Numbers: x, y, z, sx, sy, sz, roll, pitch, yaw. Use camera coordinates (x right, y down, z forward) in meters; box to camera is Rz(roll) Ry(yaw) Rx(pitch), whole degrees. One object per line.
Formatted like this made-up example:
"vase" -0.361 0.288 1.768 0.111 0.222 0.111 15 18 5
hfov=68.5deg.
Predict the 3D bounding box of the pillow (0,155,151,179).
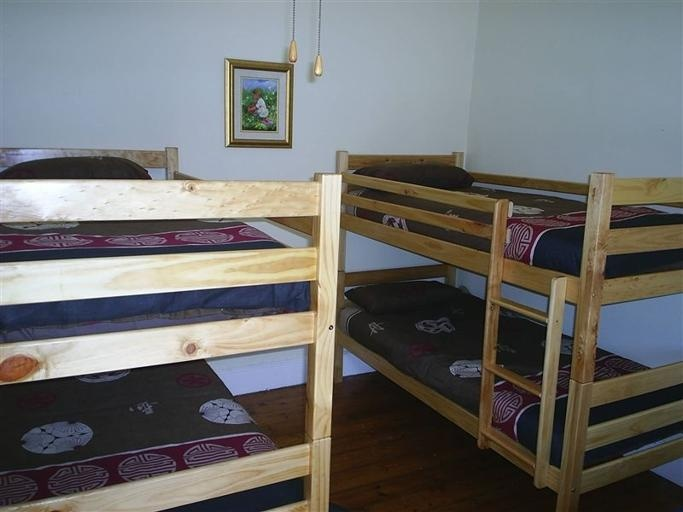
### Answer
"pillow" -1.541 -0.505 2.845 0.537 0.058 0.144 -2 34 -17

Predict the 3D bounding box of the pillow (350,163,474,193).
"pillow" 0.481 -0.561 3.604 0.557 0.098 0.161 6 22 -27
